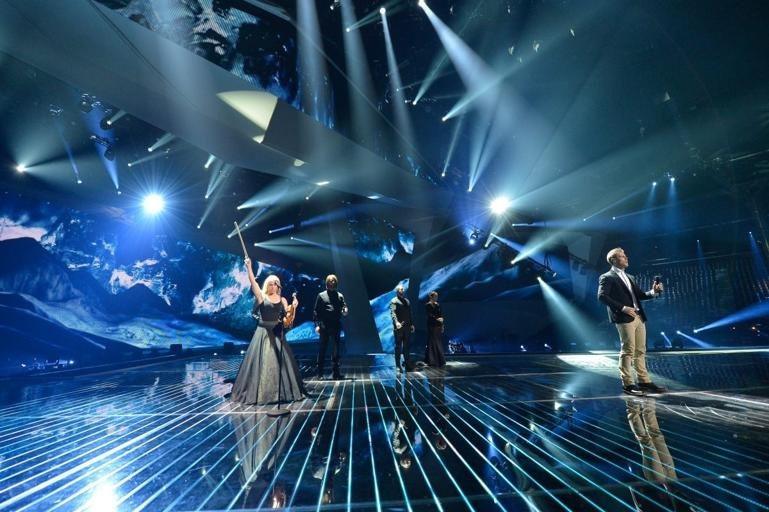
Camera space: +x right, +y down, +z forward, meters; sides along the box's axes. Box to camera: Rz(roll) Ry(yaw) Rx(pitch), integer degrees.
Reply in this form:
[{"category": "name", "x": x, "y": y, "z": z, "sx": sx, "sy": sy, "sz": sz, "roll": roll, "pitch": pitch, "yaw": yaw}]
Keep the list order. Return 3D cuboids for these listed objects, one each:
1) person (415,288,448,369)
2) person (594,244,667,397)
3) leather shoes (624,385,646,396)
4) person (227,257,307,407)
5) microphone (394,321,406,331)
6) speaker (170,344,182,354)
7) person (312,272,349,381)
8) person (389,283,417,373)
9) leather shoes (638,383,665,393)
[{"category": "person", "x": 1.366, "y": 1.348, "z": 9.741, "sx": 0.500, "sy": 1.635, "sz": 0.867, "roll": -1, "pitch": -1, "yaw": 6}, {"category": "person", "x": 4.166, "y": 0.755, "z": 6.344, "sx": 0.984, "sy": 2.095, "sz": 0.463, "roll": -1, "pitch": -1, "yaw": 0}, {"category": "leather shoes", "x": 4.205, "y": 1.754, "z": 6.209, "sx": 0.125, "sy": 0.096, "sz": 0.247, "roll": 9, "pitch": -22, "yaw": -25}, {"category": "person", "x": -1.858, "y": 1.013, "z": 6.247, "sx": 1.175, "sy": 1.780, "sz": 0.586, "roll": -1, "pitch": -1, "yaw": -9}, {"category": "microphone", "x": 0.441, "y": 1.141, "z": 8.722, "sx": 0.140, "sy": 0.182, "sz": 0.306, "roll": -1, "pitch": -1, "yaw": 36}, {"category": "speaker", "x": -7.907, "y": 2.710, "z": 14.526, "sx": 0.350, "sy": 0.239, "sz": 0.347, "roll": -8, "pitch": -13, "yaw": 22}, {"category": "person", "x": -1.125, "y": 1.129, "z": 8.440, "sx": 0.683, "sy": 1.989, "sz": 1.473, "roll": -1, "pitch": -1, "yaw": -7}, {"category": "person", "x": 0.506, "y": 1.256, "z": 9.194, "sx": 0.492, "sy": 1.786, "sz": 1.223, "roll": -1, "pitch": -1, "yaw": 4}, {"category": "leather shoes", "x": 4.492, "y": 1.743, "z": 6.276, "sx": 0.402, "sy": 0.149, "sz": 0.149, "roll": -14, "pitch": -22, "yaw": 36}]
